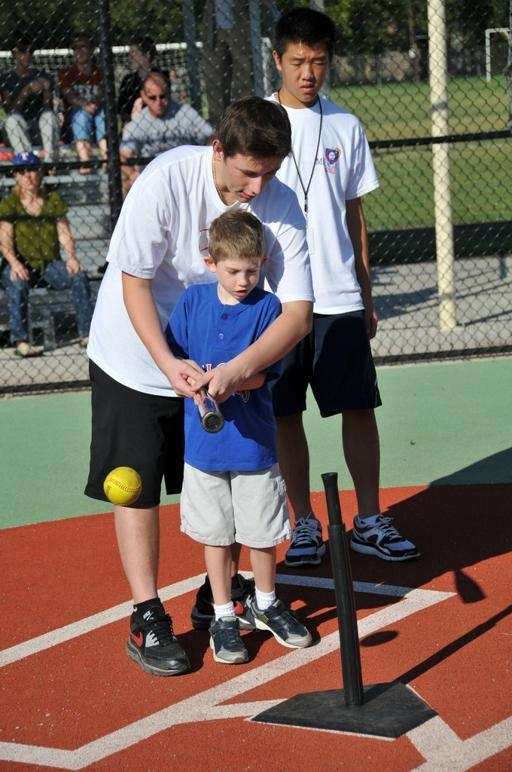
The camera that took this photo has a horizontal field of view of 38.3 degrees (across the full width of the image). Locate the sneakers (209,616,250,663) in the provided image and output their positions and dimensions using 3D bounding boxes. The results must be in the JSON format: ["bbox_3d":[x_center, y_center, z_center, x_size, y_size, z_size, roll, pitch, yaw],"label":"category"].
[{"bbox_3d":[-0.079,0.794,2.321,0.082,0.082,0.183,-2,3,-11],"label":"sneakers"}]

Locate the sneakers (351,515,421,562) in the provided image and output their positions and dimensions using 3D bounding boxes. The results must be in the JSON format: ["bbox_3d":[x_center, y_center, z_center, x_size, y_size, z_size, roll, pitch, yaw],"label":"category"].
[{"bbox_3d":[0.518,0.624,3.102,0.121,0.154,0.328,-7,10,-43],"label":"sneakers"}]

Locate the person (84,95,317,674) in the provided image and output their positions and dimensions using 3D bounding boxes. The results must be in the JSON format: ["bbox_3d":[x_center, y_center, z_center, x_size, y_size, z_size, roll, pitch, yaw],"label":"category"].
[{"bbox_3d":[-0.174,0.067,2.171,0.850,1.636,0.414,2,10,34],"label":"person"}]

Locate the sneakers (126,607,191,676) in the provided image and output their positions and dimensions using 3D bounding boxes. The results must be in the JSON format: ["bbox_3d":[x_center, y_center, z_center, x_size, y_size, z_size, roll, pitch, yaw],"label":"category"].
[{"bbox_3d":[-0.315,0.765,2.284,0.115,0.172,0.288,-3,6,-33],"label":"sneakers"}]

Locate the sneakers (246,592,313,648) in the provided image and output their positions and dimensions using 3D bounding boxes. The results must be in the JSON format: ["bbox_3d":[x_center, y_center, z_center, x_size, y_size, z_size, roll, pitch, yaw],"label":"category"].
[{"bbox_3d":[0.068,0.763,2.465,0.265,0.114,0.107,21,32,30],"label":"sneakers"}]

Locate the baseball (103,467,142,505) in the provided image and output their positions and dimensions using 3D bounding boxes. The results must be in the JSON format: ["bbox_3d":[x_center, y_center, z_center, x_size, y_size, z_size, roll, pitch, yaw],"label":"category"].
[{"bbox_3d":[-0.392,0.295,2.186,0.066,0.077,0.065,-40,29,32],"label":"baseball"}]
